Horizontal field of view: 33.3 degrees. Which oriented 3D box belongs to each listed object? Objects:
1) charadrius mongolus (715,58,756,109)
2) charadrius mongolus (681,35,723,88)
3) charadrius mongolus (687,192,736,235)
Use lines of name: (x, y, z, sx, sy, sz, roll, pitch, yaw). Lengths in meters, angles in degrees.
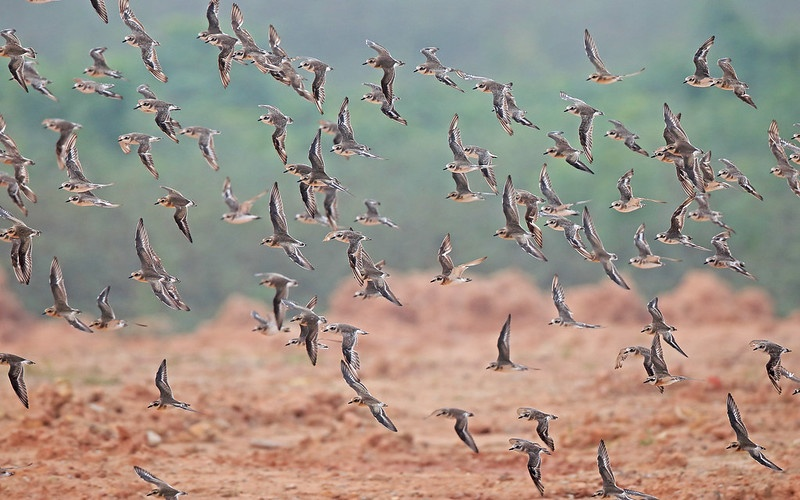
charadrius mongolus: (9.092, -4.447, 36.382, 0.722, 1.534, 1.798, -16, -21, 19)
charadrius mongolus: (8.253, -5.032, 36.310, 0.957, 1.513, 1.269, -15, -21, 18)
charadrius mongolus: (8.202, -0.906, 35.806, 0.816, 0.200, 1.398, -11, -27, -4)
